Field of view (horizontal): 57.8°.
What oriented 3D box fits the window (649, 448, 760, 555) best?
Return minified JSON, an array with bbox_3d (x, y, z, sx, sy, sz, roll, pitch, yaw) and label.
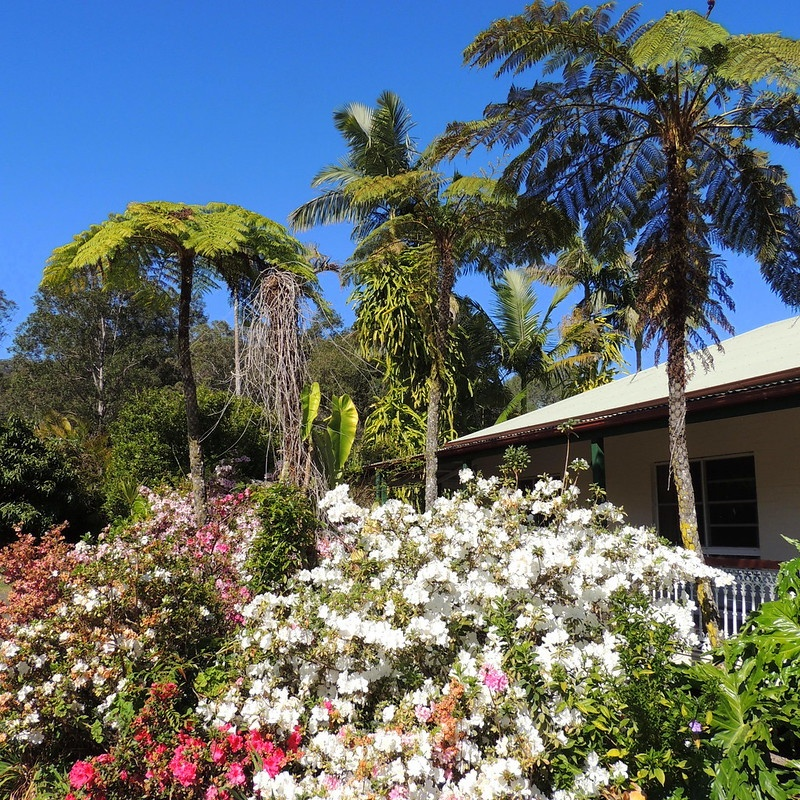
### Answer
[{"bbox_3d":[3.821,1.247,8.878,0.046,1.146,1.084,1,-16,-25],"label":"window"}]
